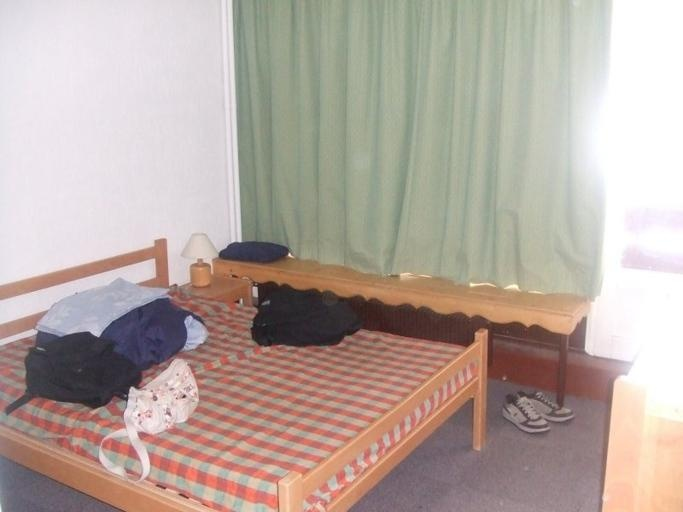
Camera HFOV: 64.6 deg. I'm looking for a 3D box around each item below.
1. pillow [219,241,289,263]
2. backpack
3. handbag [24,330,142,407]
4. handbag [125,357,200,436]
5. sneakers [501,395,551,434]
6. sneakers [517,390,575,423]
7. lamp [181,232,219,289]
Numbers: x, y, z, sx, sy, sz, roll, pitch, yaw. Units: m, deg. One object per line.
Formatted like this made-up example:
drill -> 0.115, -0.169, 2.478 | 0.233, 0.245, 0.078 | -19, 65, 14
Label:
pillow -> -0.804, -0.047, 4.901 | 0.370, 0.120, 0.281 | 3, 9, 18
backpack -> -0.237, 0.465, 3.666 | 0.428, 0.163, 0.401 | -4, 12, -32
handbag -> -1.466, 0.638, 2.998 | 0.467, 0.189, 0.384 | 11, 14, 29
handbag -> -0.949, 0.749, 2.870 | 0.372, 0.168, 0.439 | -8, 22, -16
sneakers -> 1.257, 1.087, 3.754 | 0.133, 0.159, 0.356 | -19, 13, -23
sneakers -> 1.474, 1.058, 3.868 | 0.422, 0.186, 0.159 | 9, 26, 41
lamp -> -1.215, 0.041, 4.592 | 0.319, 0.520, 0.333 | 11, 18, 32
